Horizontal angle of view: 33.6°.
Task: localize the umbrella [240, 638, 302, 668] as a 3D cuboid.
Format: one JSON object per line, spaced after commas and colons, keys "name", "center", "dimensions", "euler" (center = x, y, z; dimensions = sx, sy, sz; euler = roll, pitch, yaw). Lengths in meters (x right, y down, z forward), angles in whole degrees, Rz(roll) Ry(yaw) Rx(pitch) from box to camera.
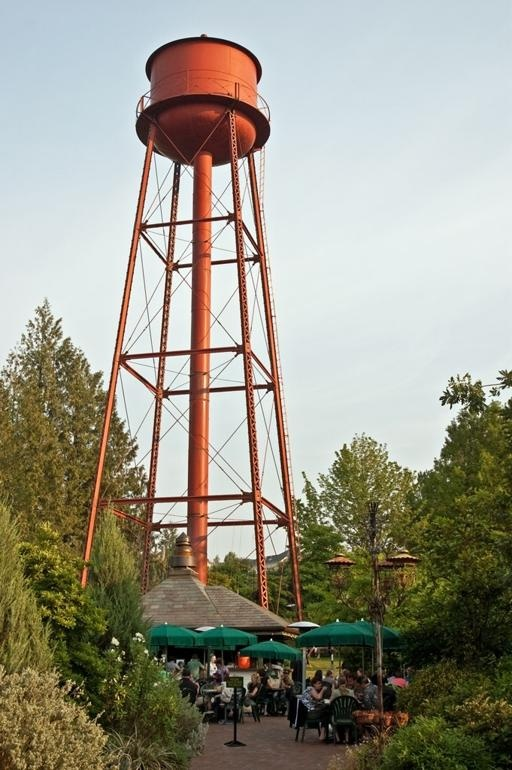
{"name": "umbrella", "center": [0.394, 6.976, 22.638], "dimensions": [1.859, 0.746, 1.896], "euler": [-1, -25, 5]}
